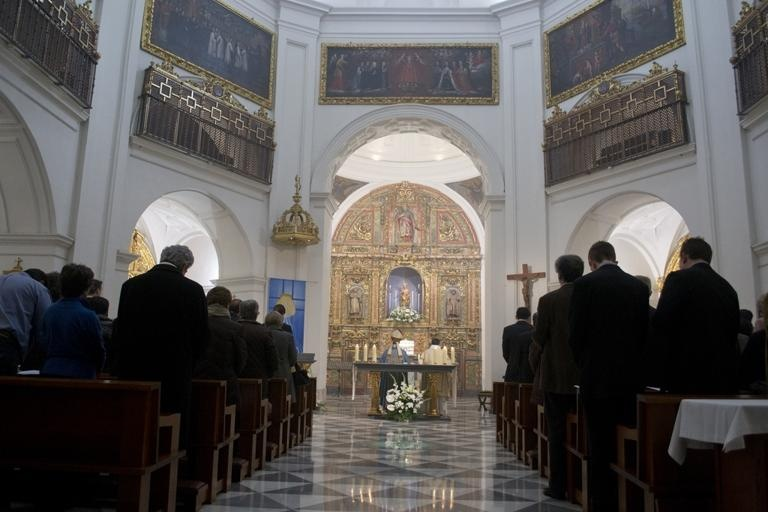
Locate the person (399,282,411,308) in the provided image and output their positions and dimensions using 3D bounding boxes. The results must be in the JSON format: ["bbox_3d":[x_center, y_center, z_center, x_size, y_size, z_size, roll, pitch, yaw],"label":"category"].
[{"bbox_3d":[0.725,1.356,21.633,0.370,0.871,0.567,2,-10,1],"label":"person"}]

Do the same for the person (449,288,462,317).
[{"bbox_3d":[2.412,1.605,21.239,0.411,0.992,0.175,2,-10,-3],"label":"person"}]

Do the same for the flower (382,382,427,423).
[{"bbox_3d":[0.434,2.871,12.355,0.776,0.547,0.780,0,-2,23],"label":"flower"}]

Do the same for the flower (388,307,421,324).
[{"bbox_3d":[0.646,1.984,20.595,0.642,0.419,0.632,2,-12,0],"label":"flower"}]

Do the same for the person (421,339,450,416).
[{"bbox_3d":[1.112,2.612,13.558,0.551,1.644,0.788,1,-10,4],"label":"person"}]
